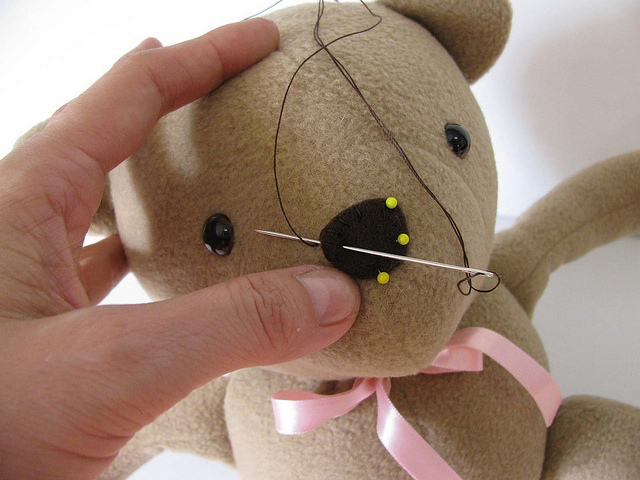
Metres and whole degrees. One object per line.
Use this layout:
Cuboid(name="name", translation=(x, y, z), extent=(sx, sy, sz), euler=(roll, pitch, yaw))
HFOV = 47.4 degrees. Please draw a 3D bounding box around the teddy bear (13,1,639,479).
Cuboid(name="teddy bear", translation=(0.041, 0.016, 1.110), extent=(0.676, 0.483, 0.396), euler=(-36, 20, -5))
